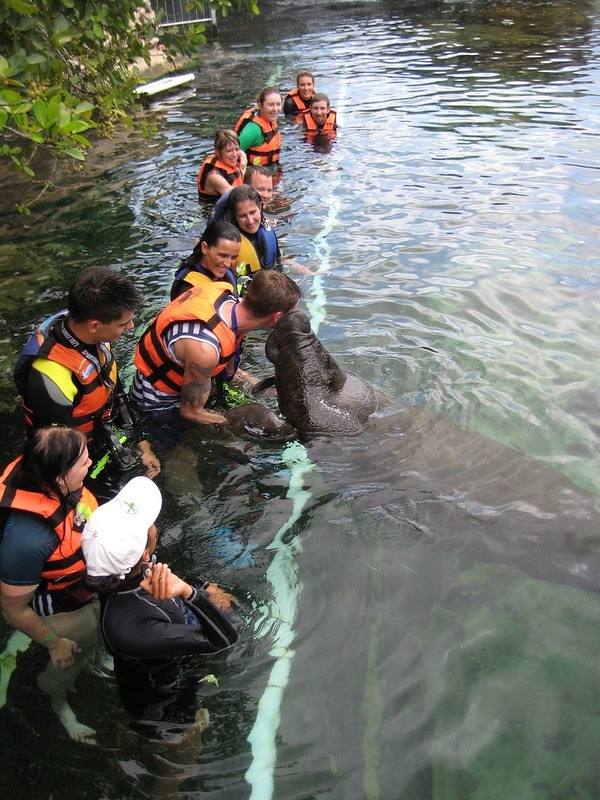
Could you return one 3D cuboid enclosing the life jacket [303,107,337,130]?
[{"bbox_3d":[0.318,-4.720,11.345,0.543,0.351,0.422,-1,30,-1],"label":"life jacket"}]
